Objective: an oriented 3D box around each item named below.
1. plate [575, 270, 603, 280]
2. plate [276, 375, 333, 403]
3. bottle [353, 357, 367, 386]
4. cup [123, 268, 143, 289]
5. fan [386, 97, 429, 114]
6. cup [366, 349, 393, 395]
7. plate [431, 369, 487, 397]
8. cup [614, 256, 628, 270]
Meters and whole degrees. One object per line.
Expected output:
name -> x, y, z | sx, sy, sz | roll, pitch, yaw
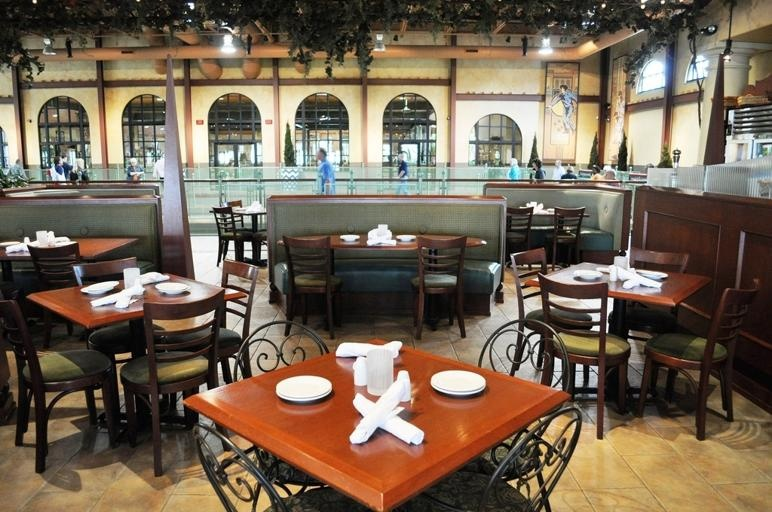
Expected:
plate -> 1.722, 0.164, 4.788 | 0.141, 0.030, 0.116 | -4, 14, -10
plate -> -0.464, 0.768, 3.231 | 0.316, 0.091, 0.199 | -3, 9, -10
bottle -> -0.150, 0.676, 3.290 | 0.075, 0.157, 0.125 | -3, 10, -5
cup -> -2.001, 0.164, 4.539 | 0.163, 0.173, 0.159 | 3, 11, -1
fan -> 0.759, -4.978, 18.400 | 1.505, 0.632, 0.139 | -3, 11, -5
cup -> -0.035, 0.659, 3.194 | 0.147, 0.272, 0.085 | -3, 11, -3
plate -> 0.421, 0.746, 3.275 | 0.289, 0.090, 0.241 | -8, 11, -36
cup -> 2.037, 0.056, 4.951 | 0.122, 0.120, 0.116 | -2, 3, 0
